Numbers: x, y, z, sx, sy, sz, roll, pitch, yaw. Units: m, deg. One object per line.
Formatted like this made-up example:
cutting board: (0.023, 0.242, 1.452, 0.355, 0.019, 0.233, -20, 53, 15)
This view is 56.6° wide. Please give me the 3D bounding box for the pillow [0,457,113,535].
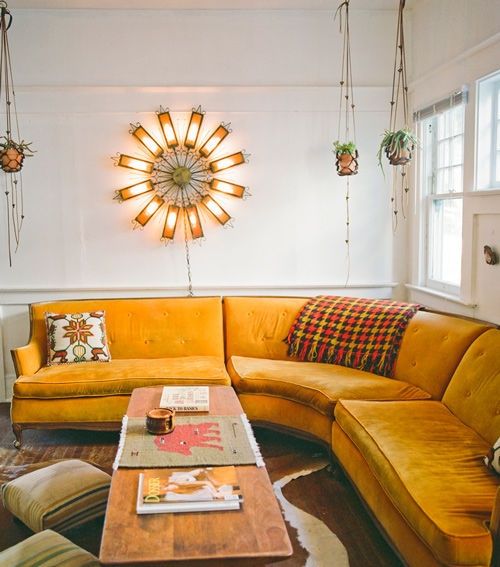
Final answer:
pillow: (-0.660, 0.760, 1.681, 0.234, 0.117, 0.236, 3, 0, -42)
